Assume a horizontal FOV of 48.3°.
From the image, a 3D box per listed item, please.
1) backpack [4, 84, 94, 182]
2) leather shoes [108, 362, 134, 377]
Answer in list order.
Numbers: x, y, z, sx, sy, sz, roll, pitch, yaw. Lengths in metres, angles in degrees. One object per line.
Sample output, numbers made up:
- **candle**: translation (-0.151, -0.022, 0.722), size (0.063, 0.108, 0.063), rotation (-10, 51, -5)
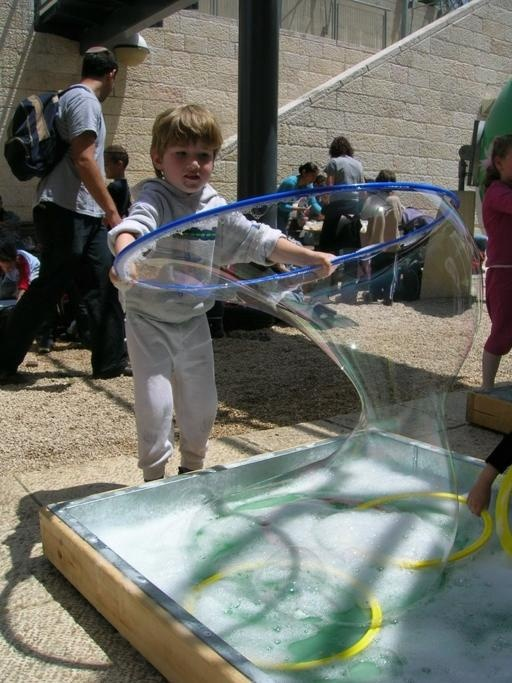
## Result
- **backpack**: translation (-1.188, -1.127, 3.089), size (0.325, 0.451, 0.190), rotation (-3, 10, -17)
- **leather shoes**: translation (-0.794, 0.164, 3.322), size (0.148, 0.067, 0.185), rotation (-14, -7, 16)
